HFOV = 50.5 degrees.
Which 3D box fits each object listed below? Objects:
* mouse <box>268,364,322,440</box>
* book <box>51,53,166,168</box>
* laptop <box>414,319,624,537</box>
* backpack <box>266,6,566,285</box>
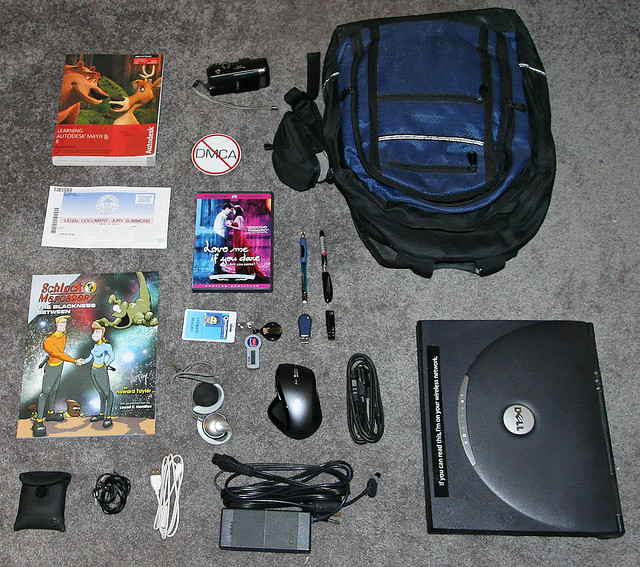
[{"bbox_3d":[-0.060,0.284,1.735,0.138,0.059,0.199,-1,51,-13],"label":"mouse"},{"bbox_3d":[-0.615,-0.512,2.000,0.300,0.050,0.358,0,71,2],"label":"book"},{"bbox_3d":[0.493,0.350,1.697,0.472,0.072,0.526,-1,71,2],"label":"laptop"},{"bbox_3d":[0.237,-0.368,1.791,0.743,0.231,0.722,-6,80,3],"label":"backpack"}]
